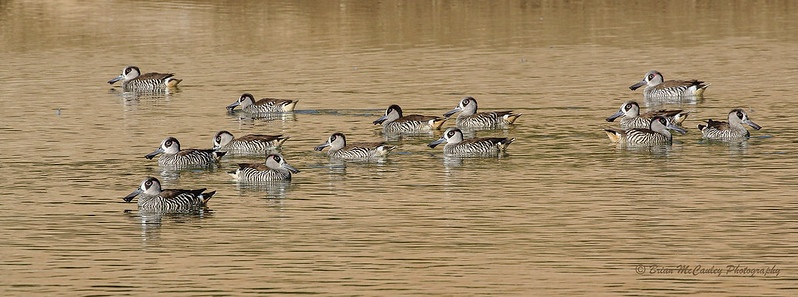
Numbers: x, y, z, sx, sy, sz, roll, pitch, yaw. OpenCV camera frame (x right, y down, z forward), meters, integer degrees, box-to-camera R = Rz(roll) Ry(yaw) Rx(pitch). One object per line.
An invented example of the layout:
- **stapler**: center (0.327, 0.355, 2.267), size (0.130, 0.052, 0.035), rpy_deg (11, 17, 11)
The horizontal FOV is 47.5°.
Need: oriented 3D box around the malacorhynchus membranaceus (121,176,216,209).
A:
- **malacorhynchus membranaceus**: center (-10.853, 2.076, 43.323), size (3.798, 1.478, 4.634), rpy_deg (2, 0, -9)
